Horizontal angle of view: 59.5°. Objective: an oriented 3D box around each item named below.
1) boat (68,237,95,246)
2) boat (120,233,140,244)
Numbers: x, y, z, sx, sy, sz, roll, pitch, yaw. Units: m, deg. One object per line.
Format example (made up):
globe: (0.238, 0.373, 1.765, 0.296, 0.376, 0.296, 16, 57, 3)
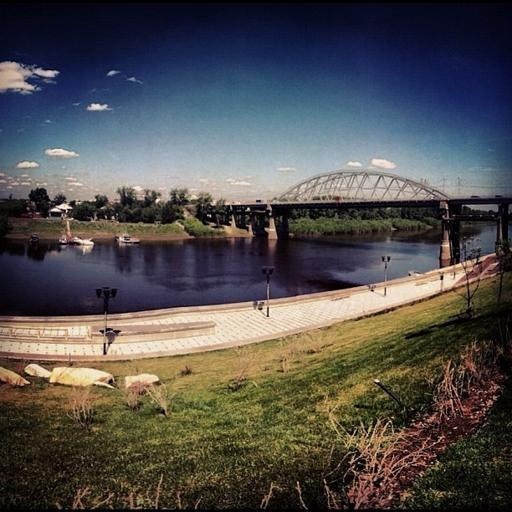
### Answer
boat: (-19.299, -1.625, 49.713, 1.890, 0.609, 1.004, 1, 4, -5)
boat: (-16.207, -2.113, 56.829, 2.448, 1.246, 6.207, -1, 2, -17)
